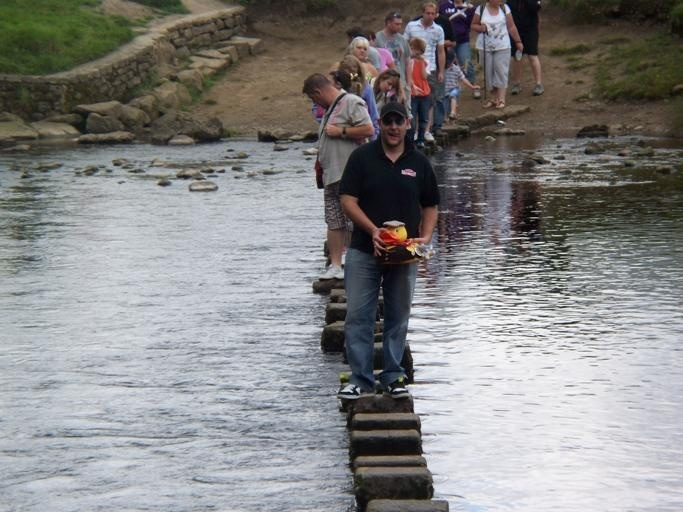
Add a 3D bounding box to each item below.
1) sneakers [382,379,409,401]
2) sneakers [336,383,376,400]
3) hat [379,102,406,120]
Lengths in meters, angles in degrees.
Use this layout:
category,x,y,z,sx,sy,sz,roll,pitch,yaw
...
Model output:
category,x,y,z,sx,sy,sz,roll,pitch,yaw
sneakers,0.456,1.129,10.025,0.197,0.175,0.200,-11,63,-3
sneakers,0.110,1.151,10.033,0.368,0.116,0.123,2,88,-9
hat,0.436,-1.261,10.048,0.219,0.214,0.193,-1,64,2
